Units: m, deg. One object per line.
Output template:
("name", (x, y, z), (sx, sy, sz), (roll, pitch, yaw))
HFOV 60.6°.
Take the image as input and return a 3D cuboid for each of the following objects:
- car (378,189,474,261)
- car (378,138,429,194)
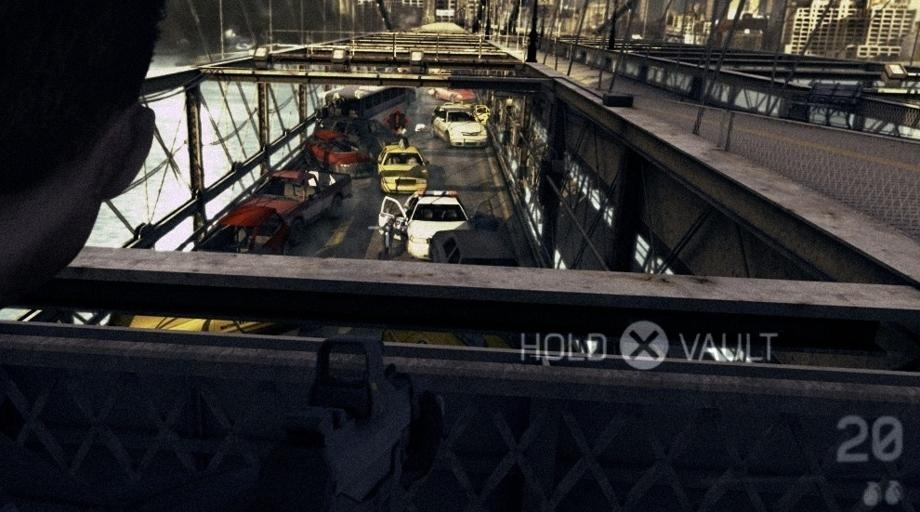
("car", (-0.813, -0.608, 20.347), (1.894, 0.838, 2.253), (0, 19, -4))
("car", (-1.797, -3.001, 27.133), (1.275, 1.112, 2.671), (0, 31, -4))
